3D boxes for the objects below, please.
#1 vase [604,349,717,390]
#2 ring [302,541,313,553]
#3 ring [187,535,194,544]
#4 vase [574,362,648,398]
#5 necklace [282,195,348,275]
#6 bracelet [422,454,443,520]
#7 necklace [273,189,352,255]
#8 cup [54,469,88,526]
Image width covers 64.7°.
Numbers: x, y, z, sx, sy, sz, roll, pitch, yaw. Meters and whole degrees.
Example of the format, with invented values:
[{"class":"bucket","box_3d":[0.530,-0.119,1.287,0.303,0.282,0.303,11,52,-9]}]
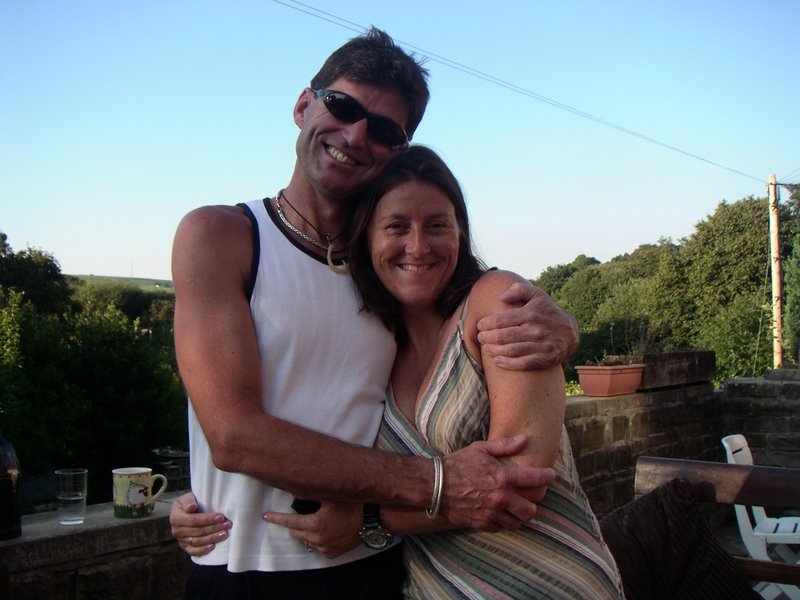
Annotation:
[{"class":"vase","box_3d":[2.553,0.649,6.025,0.799,0.448,0.196,1,17,-34]},{"class":"ring","box_3d":[-0.293,0.798,2.046,0.013,0.042,0.033,-49,15,2]},{"class":"ring","box_3d":[-0.690,0.787,2.081,0.021,0.029,0.008,-39,-25,26]},{"class":"vase","box_3d":[1.776,0.659,5.324,0.471,0.200,0.266,0,-1,-38]},{"class":"necklace","box_3d":[-0.310,-0.237,2.275,0.068,0.285,0.191,-39,4,27]},{"class":"bracelet","box_3d":[0.112,0.582,1.974,0.054,0.175,0.040,-2,-4,5]},{"class":"necklace","box_3d":[-0.344,-0.268,2.321,0.074,0.288,0.227,-47,-8,25]},{"class":"cup","box_3d":[-1.579,0.933,3.034,0.131,0.221,0.315,0,-5,-29]}]
